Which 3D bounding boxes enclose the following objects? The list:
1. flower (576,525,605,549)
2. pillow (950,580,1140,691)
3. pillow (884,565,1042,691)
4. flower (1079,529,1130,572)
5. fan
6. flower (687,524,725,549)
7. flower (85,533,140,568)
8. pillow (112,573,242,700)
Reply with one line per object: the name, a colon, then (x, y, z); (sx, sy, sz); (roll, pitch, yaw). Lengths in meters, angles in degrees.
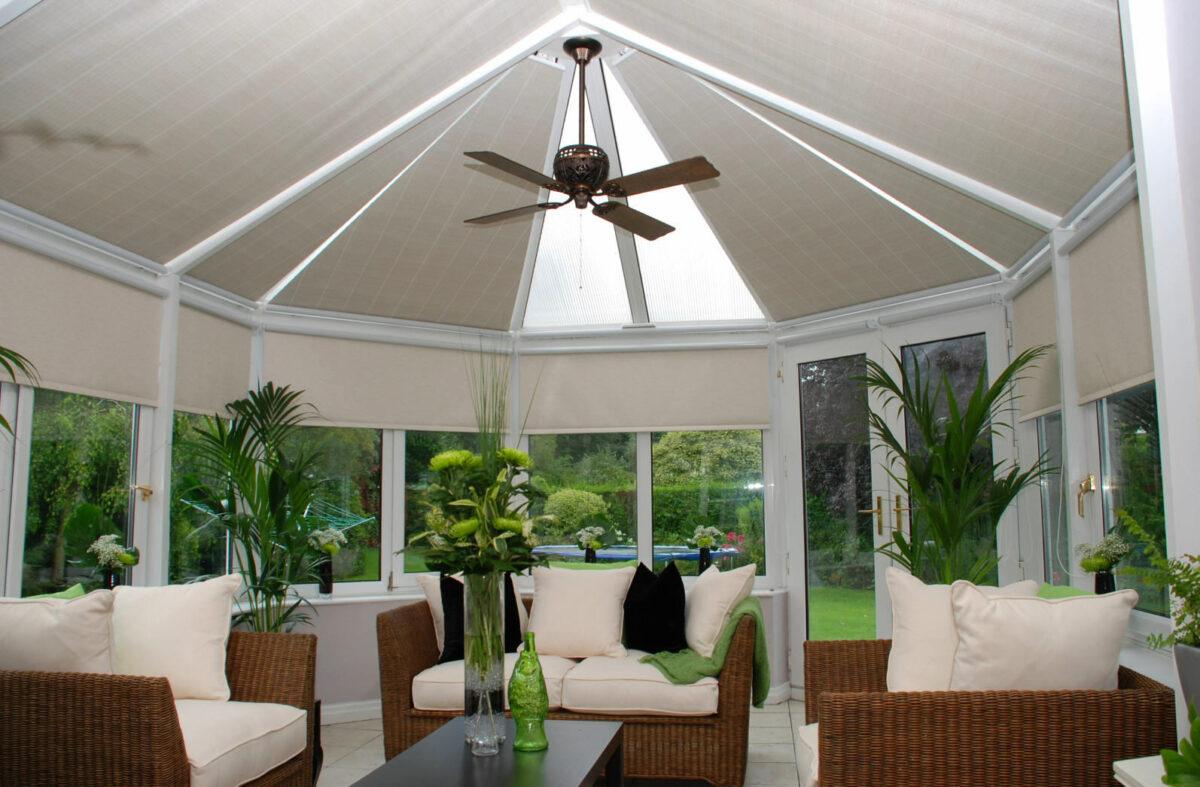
flower: (-0.093, 1.268, 7.511); (0.188, 0.162, 0.189); (3, -7, -11)
pillow: (1.976, 1.105, 3.843); (0.569, 0.478, 0.197); (1, 12, -1)
pillow: (1.715, 1.134, 4.063); (0.681, 0.658, 0.266); (3, -12, -12)
flower: (2.768, 0.884, 4.701); (0.256, 0.206, 0.293); (-8, -7, 33)
fan: (-0.111, -1.686, 5.228); (1.217, 1.415, 1.523); (0, -11, -11)
flower: (0.922, 1.243, 7.442); (0.321, 0.210, 0.203); (-3, -11, 5)
flower: (-3.113, 1.006, 5.446); (0.263, 0.215, 0.490); (5, -13, -31)
pillow: (-2.327, 1.365, 4.694); (0.677, 0.626, 0.257); (0, -18, -2)
